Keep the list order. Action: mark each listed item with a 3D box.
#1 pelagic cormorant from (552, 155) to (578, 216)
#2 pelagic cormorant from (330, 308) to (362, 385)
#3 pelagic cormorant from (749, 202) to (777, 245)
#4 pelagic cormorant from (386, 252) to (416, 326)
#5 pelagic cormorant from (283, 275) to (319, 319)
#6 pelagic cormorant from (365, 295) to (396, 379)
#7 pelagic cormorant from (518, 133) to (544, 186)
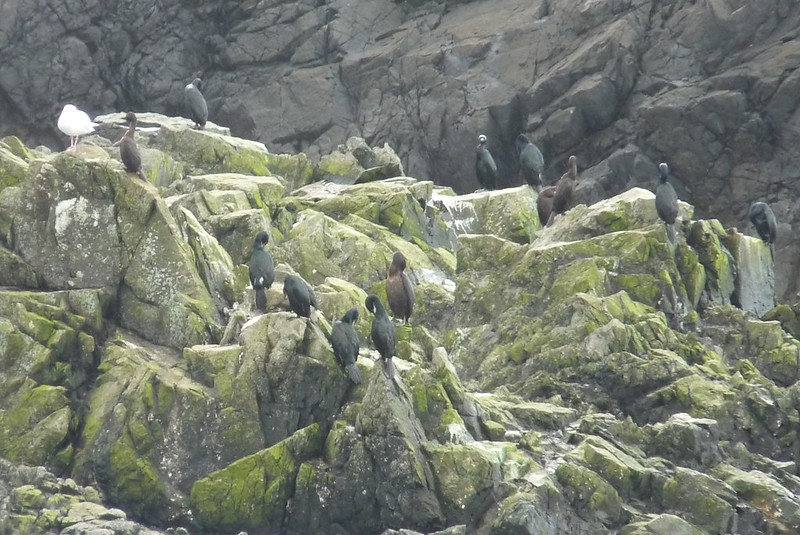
[{"bbox_3d":[5.276,-2.596,61.417,0.677,1.798,1.016,0,0,-1],"label":"pelagic cormorant"},{"bbox_3d":[-1.262,2.144,55.629,0.676,2.337,1.226,5,-30,-28],"label":"pelagic cormorant"},{"bbox_3d":[11.626,-1.639,62.181,0.600,0.771,1.755,-8,24,3],"label":"pelagic cormorant"},{"bbox_3d":[0.105,0.580,58.276,0.797,2.086,1.266,0,0,2],"label":"pelagic cormorant"},{"bbox_3d":[-2.753,0.859,55.842,0.641,1.339,0.893,-29,-39,-8],"label":"pelagic cormorant"},{"bbox_3d":[-0.422,1.956,55.672,0.773,2.368,1.265,0,0,-10],"label":"pelagic cormorant"},{"bbox_3d":[4.497,-3.530,64.820,0.808,2.131,0.626,-4,7,42],"label":"pelagic cormorant"}]
